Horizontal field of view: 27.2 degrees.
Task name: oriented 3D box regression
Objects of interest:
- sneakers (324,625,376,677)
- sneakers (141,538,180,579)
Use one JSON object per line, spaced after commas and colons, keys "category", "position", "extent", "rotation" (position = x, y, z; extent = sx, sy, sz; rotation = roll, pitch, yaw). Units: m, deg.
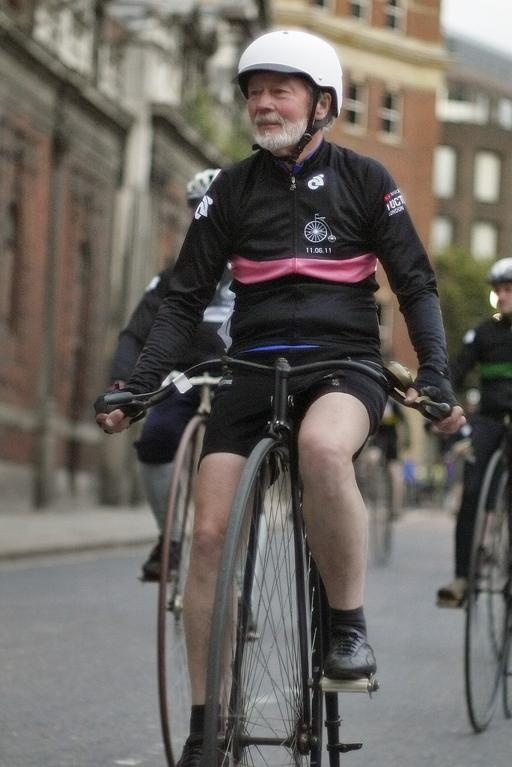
{"category": "sneakers", "position": [0.210, 0.597, 2.357], "extent": [0.108, 0.113, 0.176], "rotation": [5, 0, 5]}
{"category": "sneakers", "position": [-0.338, 0.629, 3.850], "extent": [0.086, 0.072, 0.222], "rotation": [6, 17, 8]}
